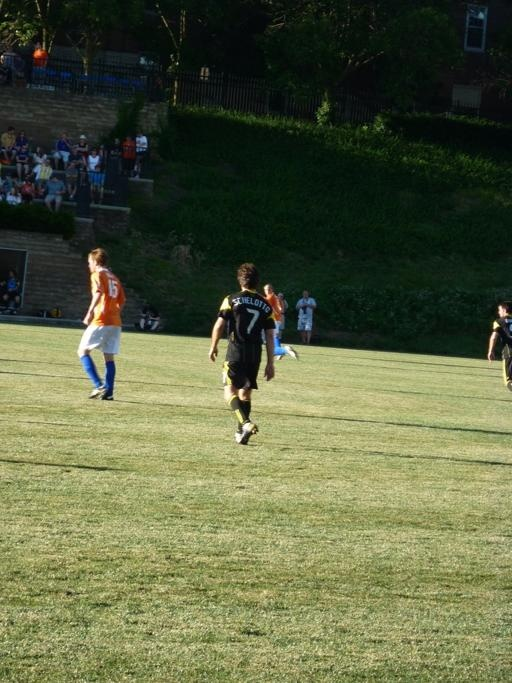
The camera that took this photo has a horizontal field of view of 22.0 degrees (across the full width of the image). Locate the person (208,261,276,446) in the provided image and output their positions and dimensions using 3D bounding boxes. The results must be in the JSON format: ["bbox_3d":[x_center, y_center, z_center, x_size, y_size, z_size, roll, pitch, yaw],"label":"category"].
[{"bbox_3d":[-0.120,0.137,11.634,0.566,1.590,0.800,4,6,-1],"label":"person"}]

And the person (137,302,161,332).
[{"bbox_3d":[-2.678,-0.501,33.218,0.488,0.436,0.773,1,-4,-2],"label":"person"}]

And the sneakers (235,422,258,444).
[{"bbox_3d":[-0.073,0.795,11.447,0.152,0.095,0.233,5,-39,-31],"label":"sneakers"}]
